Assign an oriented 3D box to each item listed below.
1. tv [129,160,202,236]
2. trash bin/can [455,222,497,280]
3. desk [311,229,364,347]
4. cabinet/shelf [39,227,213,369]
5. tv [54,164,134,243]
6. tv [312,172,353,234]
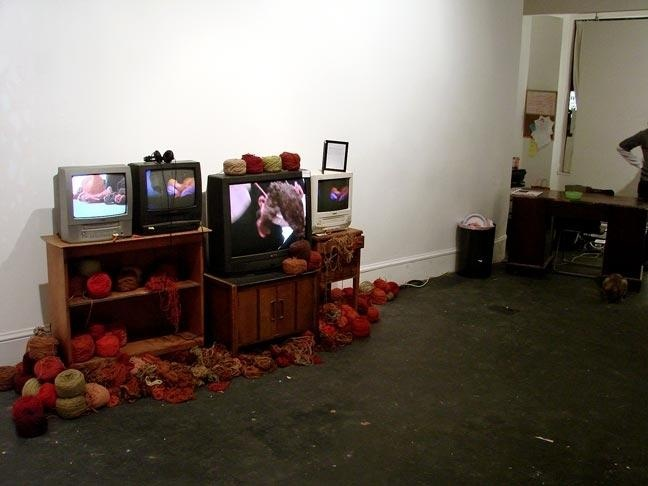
[{"bbox_3d":[-1.254,-0.429,4.081,0.623,0.674,0.548,-8,13,-39],"label":"tv"},{"bbox_3d":[1.977,0.070,6.640,0.623,0.716,0.618,4,11,11],"label":"trash bin/can"},{"bbox_3d":[0.137,0.393,4.922,0.505,0.953,0.376,1,9,-3],"label":"desk"},{"bbox_3d":[-1.642,0.429,3.918,0.395,0.830,0.943,14,20,43],"label":"cabinet/shelf"},{"bbox_3d":[-1.748,-0.314,3.854,0.587,0.675,0.563,-6,9,-42],"label":"tv"},{"bbox_3d":[0.063,-0.408,4.715,0.502,0.554,0.312,-9,14,-38],"label":"tv"}]
